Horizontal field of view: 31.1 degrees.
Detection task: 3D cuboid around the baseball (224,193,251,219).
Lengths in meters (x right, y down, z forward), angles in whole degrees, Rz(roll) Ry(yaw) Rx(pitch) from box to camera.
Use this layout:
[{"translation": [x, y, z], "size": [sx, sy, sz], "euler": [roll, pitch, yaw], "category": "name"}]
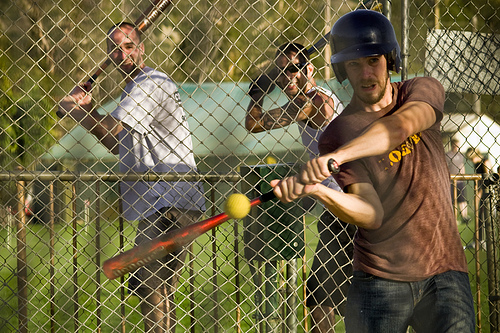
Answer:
[{"translation": [-0.099, 0.397, 9.580], "size": [0.256, 0.272, 0.251], "euler": [-11, 11, 24], "category": "baseball"}]
